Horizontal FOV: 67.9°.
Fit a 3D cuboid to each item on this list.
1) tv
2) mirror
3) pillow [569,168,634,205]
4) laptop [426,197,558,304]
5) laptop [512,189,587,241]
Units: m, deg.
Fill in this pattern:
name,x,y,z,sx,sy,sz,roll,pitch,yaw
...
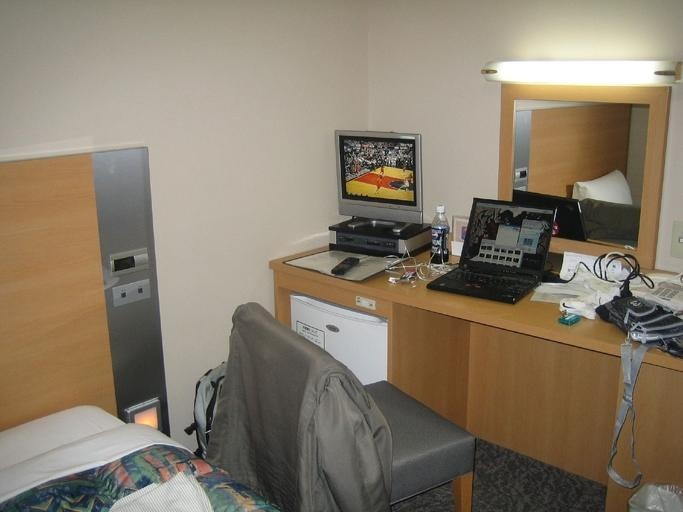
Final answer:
name,x,y,z,sx,sy,sz,roll,pitch,yaw
tv,0.203,-0.400,2.690,0.486,0.487,0.053,10,25,27
mirror,1.168,-0.366,2.378,0.738,0.894,0.058,14,23,37
pillow,1.213,-0.300,2.366,0.170,0.160,0.052,-10,12,33
laptop,0.735,0.000,2.377,0.467,0.551,0.354,16,3,33
laptop,1.049,-0.213,2.516,0.314,0.236,0.255,14,29,43
